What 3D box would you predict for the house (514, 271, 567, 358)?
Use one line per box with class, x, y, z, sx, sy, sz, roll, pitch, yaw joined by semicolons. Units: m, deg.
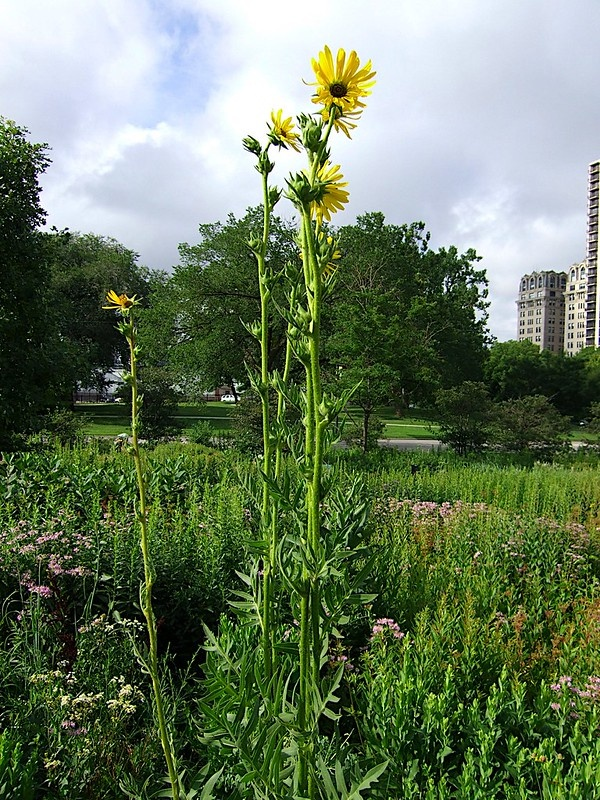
house;40.774;-14.189;108.414;10.472;13.251;10.878;2;6;20
